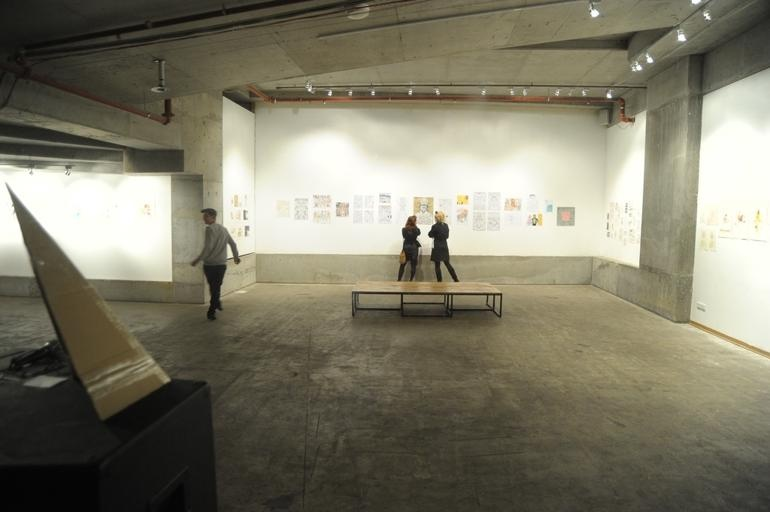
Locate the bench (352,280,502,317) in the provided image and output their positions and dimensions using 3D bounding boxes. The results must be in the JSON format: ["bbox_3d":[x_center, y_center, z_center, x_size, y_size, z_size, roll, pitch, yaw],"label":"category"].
[{"bbox_3d":[0.796,0.763,8.935,2.733,0.682,2.026,1,11,1],"label":"bench"}]

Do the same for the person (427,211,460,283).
[{"bbox_3d":[1.334,-0.185,10.744,0.665,1.675,0.782,2,12,8],"label":"person"}]

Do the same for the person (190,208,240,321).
[{"bbox_3d":[-3.013,0.094,8.314,0.747,1.877,1.255,-3,12,-17],"label":"person"}]

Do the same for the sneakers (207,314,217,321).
[{"bbox_3d":[-2.959,1.047,7.931,0.080,0.144,0.157,7,14,24],"label":"sneakers"}]

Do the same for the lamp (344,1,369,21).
[{"bbox_3d":[-0.304,-2.778,5.241,0.263,0.121,0.294,0,11,-2],"label":"lamp"}]

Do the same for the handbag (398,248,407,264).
[{"bbox_3d":[0.399,0.022,10.746,0.165,0.345,0.349,-7,10,-27],"label":"handbag"}]

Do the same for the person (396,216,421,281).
[{"bbox_3d":[0.555,-0.156,10.819,0.480,1.575,0.641,1,12,3],"label":"person"}]
